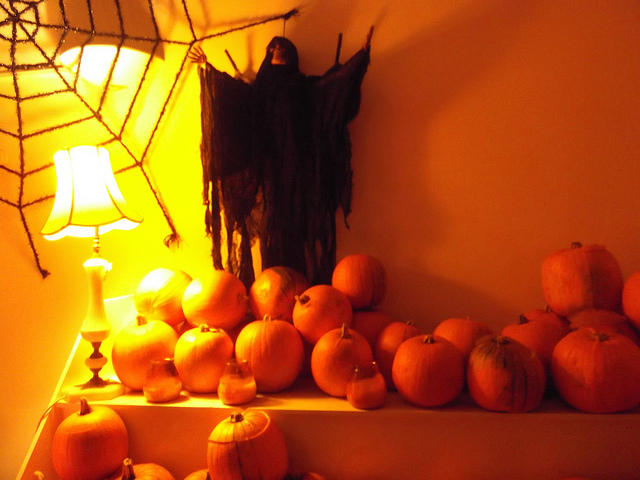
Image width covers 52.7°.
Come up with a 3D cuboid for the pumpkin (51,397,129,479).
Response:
[{"bbox_3d":[-0.888,0.774,2.509,0.252,0.339,0.279,-13,9,-16],"label":"pumpkin"}]

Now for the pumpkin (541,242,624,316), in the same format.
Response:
[{"bbox_3d":[1.147,0.193,2.832,0.314,0.385,0.341,-6,-12,12],"label":"pumpkin"}]

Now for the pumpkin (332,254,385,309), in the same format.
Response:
[{"bbox_3d":[0.172,0.169,2.812,0.204,0.243,0.197,1,-2,-37],"label":"pumpkin"}]

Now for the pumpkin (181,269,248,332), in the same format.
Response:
[{"bbox_3d":[-0.467,0.269,2.829,0.290,0.266,0.156,-2,-9,-15],"label":"pumpkin"}]

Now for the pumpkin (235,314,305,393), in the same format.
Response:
[{"bbox_3d":[-0.230,0.488,2.760,0.265,0.364,0.269,5,-6,-39],"label":"pumpkin"}]

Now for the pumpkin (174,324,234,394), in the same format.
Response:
[{"bbox_3d":[-0.484,0.471,2.669,0.203,0.310,0.232,-2,-4,26],"label":"pumpkin"}]

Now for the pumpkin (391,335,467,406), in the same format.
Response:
[{"bbox_3d":[0.436,0.540,2.627,0.272,0.315,0.304,-7,5,-2],"label":"pumpkin"}]

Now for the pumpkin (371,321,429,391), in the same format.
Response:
[{"bbox_3d":[0.342,0.478,2.777,0.205,0.339,0.244,-2,-2,13],"label":"pumpkin"}]

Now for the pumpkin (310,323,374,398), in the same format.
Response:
[{"bbox_3d":[0.080,0.449,2.633,0.224,0.367,0.270,1,-1,-6],"label":"pumpkin"}]

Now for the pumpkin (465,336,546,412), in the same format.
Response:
[{"bbox_3d":[0.695,0.513,2.457,0.234,0.299,0.262,-1,1,28],"label":"pumpkin"}]

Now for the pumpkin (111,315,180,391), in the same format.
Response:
[{"bbox_3d":[-0.753,0.500,2.803,0.272,0.355,0.301,-2,-4,27],"label":"pumpkin"}]

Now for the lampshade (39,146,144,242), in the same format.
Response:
[{"bbox_3d":[-0.994,-0.202,2.783,0.394,0.428,0.423,-9,-1,-24],"label":"lampshade"}]
